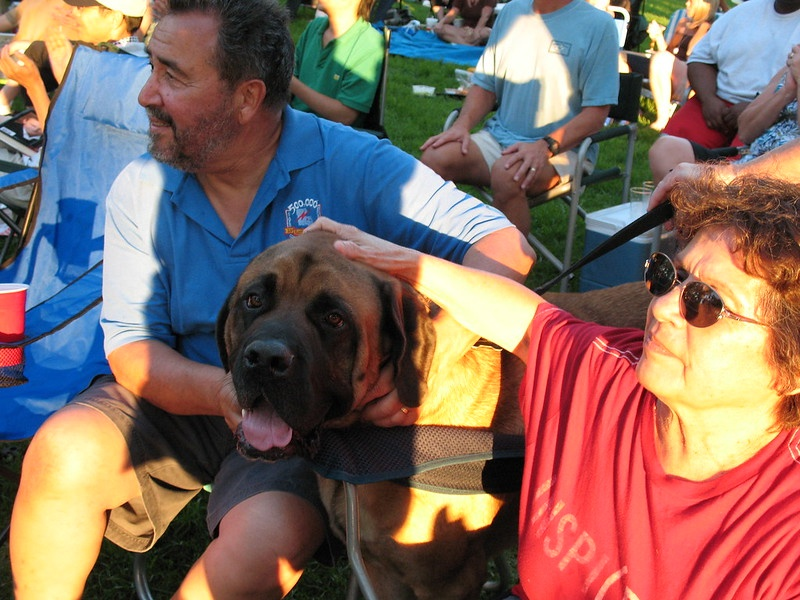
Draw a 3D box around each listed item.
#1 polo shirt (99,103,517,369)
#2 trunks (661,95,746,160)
[{"bbox_3d":[-0.504,-0.263,3.252,1.476,1.190,0.682,-6,8,1],"label":"polo shirt"},{"bbox_3d":[2.462,-1.437,5.996,0.498,0.578,0.191,-3,2,31],"label":"trunks"}]
